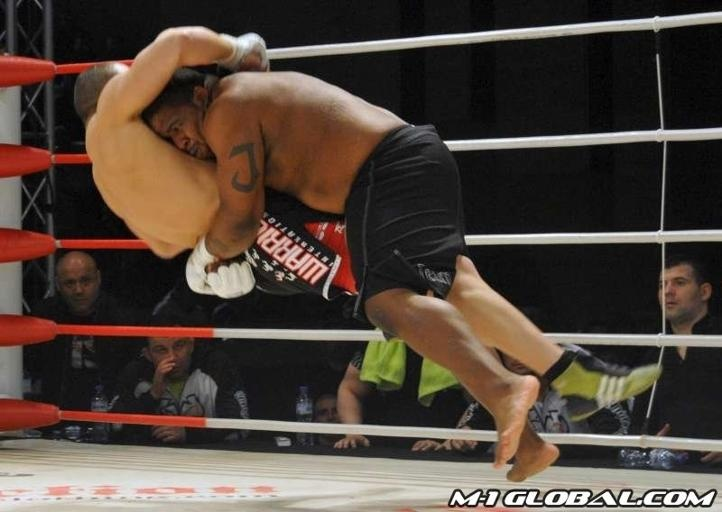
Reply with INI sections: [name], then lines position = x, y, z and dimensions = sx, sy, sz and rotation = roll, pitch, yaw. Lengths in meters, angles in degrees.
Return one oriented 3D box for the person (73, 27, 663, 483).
[person]
position = -0.189, -0.084, 3.547
dimensions = 1.624, 1.365, 0.427
rotation = 4, 10, 20
